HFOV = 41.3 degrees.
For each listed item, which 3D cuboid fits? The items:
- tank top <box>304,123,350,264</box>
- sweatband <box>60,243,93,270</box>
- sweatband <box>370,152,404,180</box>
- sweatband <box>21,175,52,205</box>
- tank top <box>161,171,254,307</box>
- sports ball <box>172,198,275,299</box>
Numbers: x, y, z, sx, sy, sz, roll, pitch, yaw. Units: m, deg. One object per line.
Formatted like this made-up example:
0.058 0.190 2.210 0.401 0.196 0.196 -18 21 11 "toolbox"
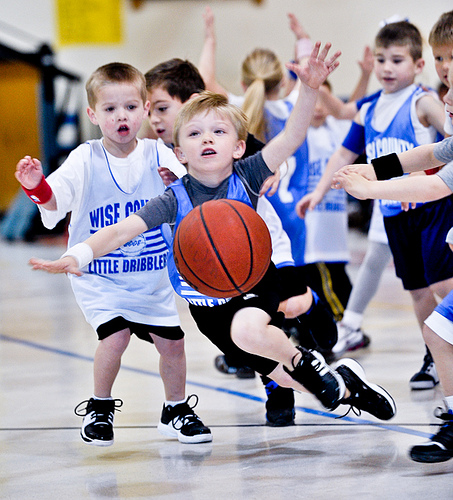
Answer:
0.664 -0.402 4.004 0.283 0.979 0.508 -1 1 11 "tank top"
-0.460 0.019 1.849 0.075 0.072 0.079 -24 -1 -24 "sweatband"
0.547 -0.283 2.038 0.106 0.089 0.055 -1 1 14 "sweatband"
-0.626 -0.190 2.023 0.075 0.093 0.098 -33 42 25 "sweatband"
-0.116 -0.053 2.092 0.272 0.473 0.443 -3 18 -7 "tank top"
0.004 -0.037 1.958 0.299 0.342 0.281 -12 15 3 "sports ball"
